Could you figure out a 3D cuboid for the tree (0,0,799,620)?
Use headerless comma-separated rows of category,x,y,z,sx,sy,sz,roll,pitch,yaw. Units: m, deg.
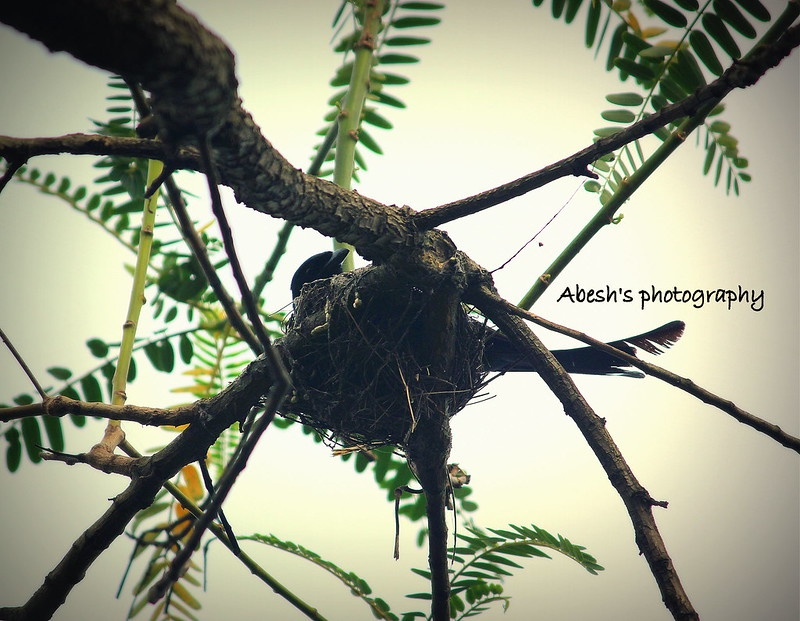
tree,-0.083,0.042,2.493,1.281,0.612,1.215,7,-81,-3
